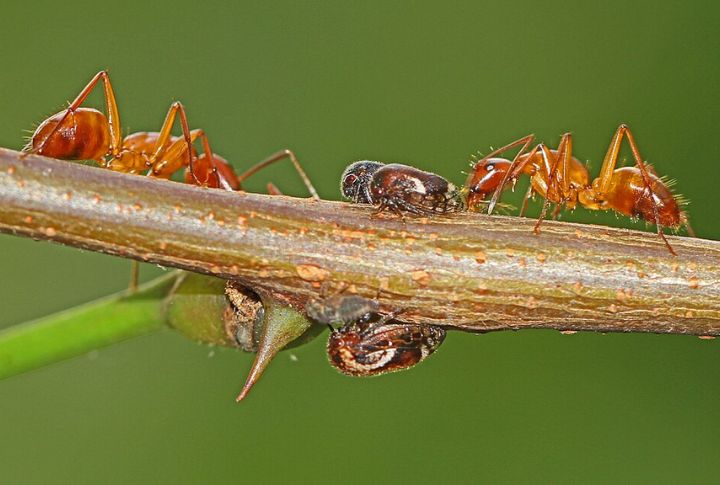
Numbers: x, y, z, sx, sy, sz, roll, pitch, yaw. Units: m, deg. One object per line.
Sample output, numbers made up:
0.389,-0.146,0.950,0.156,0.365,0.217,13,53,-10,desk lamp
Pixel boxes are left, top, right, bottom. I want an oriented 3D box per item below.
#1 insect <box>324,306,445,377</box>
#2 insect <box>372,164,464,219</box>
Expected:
0.098,0.383,2.848,0.457,0.135,0.247,-4,-42,5,insect
0.220,-0.188,2.815,0.301,0.194,0.141,14,-83,-1,insect
